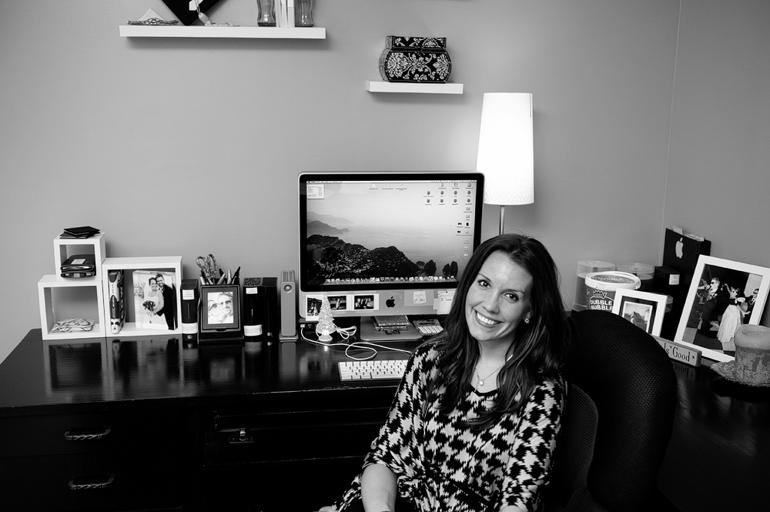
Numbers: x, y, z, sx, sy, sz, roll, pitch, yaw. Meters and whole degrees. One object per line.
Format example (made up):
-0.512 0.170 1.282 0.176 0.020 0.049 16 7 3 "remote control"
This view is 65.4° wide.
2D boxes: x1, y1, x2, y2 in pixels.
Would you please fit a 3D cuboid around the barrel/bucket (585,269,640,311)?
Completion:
1.025 0.141 2.744 0.244 0.158 0.251 1 5 0 "barrel/bucket"

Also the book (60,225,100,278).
-1.371 -0.020 2.689 0.164 0.222 0.142 -2 7 -15 "book"

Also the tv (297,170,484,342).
0.019 -0.019 2.595 0.713 0.549 0.208 0 9 -5 "tv"

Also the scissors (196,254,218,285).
-0.819 0.062 2.729 0.095 0.148 0.037 8 -25 -37 "scissors"

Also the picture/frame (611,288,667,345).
0.983 0.231 2.319 0.205 0.193 0.014 4 1 25 "picture/frame"

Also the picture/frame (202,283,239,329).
-0.736 0.221 2.655 0.185 0.226 0.023 0 -1 -10 "picture/frame"
